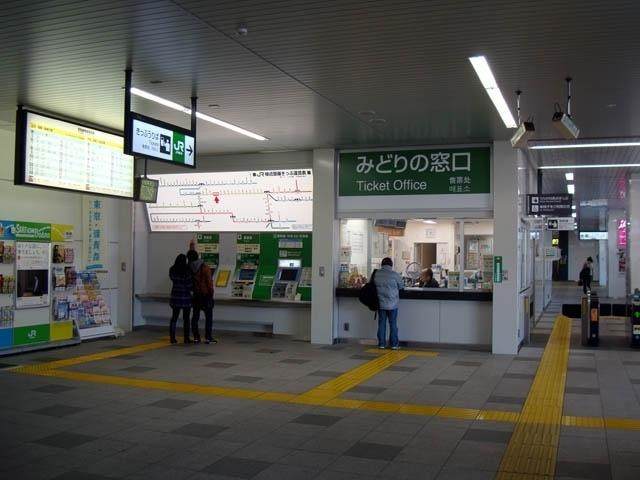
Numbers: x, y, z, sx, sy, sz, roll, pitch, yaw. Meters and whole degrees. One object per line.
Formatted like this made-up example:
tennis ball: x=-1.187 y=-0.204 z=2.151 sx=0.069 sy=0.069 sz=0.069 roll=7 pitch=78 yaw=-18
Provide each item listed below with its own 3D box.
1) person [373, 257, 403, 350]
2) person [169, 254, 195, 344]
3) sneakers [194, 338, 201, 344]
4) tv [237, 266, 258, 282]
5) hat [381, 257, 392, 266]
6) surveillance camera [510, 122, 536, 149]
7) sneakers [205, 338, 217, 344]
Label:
person: x=1.325 y=1.227 z=9.291 sx=0.566 sy=1.747 sz=0.539 roll=0 pitch=-2 yaw=7
person: x=-2.863 y=1.191 z=9.825 sx=0.429 sy=1.793 sz=0.942 roll=1 pitch=-2 yaw=-16
sneakers: x=-2.499 y=2.042 z=9.700 sx=0.116 sy=0.108 sz=0.059 roll=2 pitch=3 yaw=-22
tv: x=-1.619 y=0.768 z=10.728 sx=0.334 sy=0.284 sz=0.107 roll=-1 pitch=-38 yaw=11
hat: x=1.316 y=0.417 z=9.374 sx=0.135 sy=0.177 sz=0.176 roll=2 pitch=-30 yaw=6
surveillance camera: x=3.025 y=-1.579 z=7.143 sx=0.176 sy=0.284 sz=0.486 roll=12 pitch=-27 yaw=0
sneakers: x=-2.211 y=2.037 z=9.706 sx=0.257 sy=0.171 sz=0.087 roll=0 pitch=0 yaw=-20
